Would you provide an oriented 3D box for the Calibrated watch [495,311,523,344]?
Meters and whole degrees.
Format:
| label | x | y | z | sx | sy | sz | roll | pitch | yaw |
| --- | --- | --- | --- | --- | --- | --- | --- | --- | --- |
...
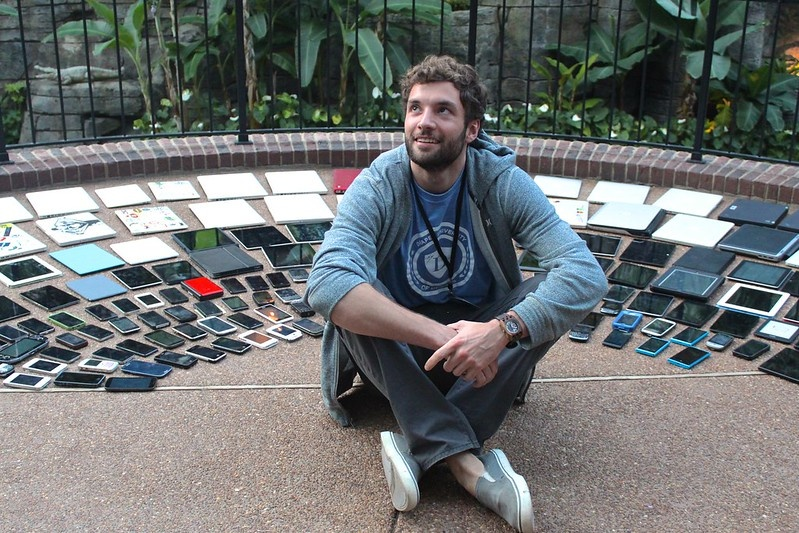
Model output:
| label | x | y | z | sx | sy | sz | roll | pitch | yaw |
| --- | --- | --- | --- | --- | --- | --- | --- | --- | --- |
| Calibrated watch | 0.441 | 0.246 | 2.035 | 0.084 | 0.096 | 0.089 | -13 | 32 | -21 |

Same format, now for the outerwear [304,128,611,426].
| label | x | y | z | sx | sy | sz | roll | pitch | yaw |
| --- | --- | --- | --- | --- | --- | --- | --- | --- | --- |
| outerwear | 0.236 | -0.038 | 2.592 | 1.195 | 1.172 | 1.189 | -3 | 8 | -4 |

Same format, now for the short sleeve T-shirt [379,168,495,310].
| label | x | y | z | sx | sy | sz | roll | pitch | yaw |
| --- | --- | --- | --- | --- | --- | --- | --- | --- | --- |
| short sleeve T-shirt | 0.151 | -0.155 | 2.318 | 0.547 | 0.544 | 0.313 | -4 | 23 | -2 |

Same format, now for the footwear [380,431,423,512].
| label | x | y | z | sx | sy | sz | roll | pitch | yaw |
| --- | --- | --- | --- | --- | --- | --- | --- | --- | --- |
| footwear | 0.001 | 0.786 | 2.002 | 0.135 | 0.118 | 0.334 | -1 | 26 | -8 |

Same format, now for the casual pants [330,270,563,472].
| label | x | y | z | sx | sy | sz | roll | pitch | yaw |
| --- | --- | --- | --- | --- | --- | --- | --- | --- | --- |
| casual pants | 0.173 | 0.480 | 2.032 | 0.835 | 0.474 | 0.896 | 0 | -8 | -8 |
